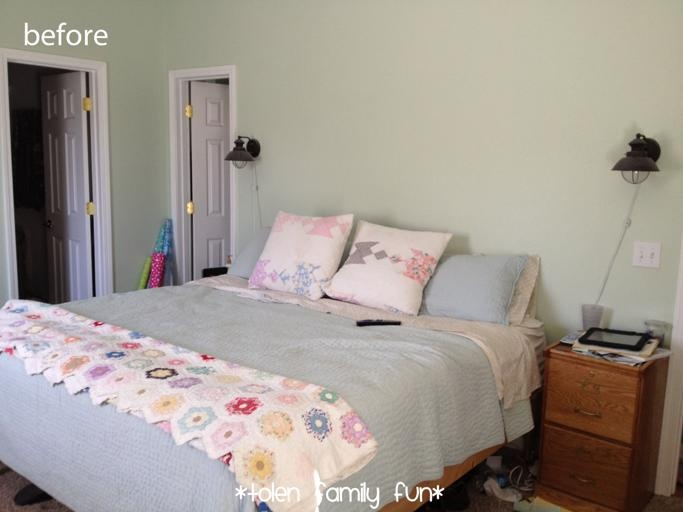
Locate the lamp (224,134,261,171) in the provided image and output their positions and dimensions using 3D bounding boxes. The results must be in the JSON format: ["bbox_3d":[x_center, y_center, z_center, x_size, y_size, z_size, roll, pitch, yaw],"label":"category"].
[{"bbox_3d":[-0.826,-0.866,4.142,0.211,0.255,0.295,10,18,30],"label":"lamp"}]

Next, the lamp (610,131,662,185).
[{"bbox_3d":[1.529,-0.505,2.608,0.240,0.257,0.204,-5,8,-35],"label":"lamp"}]
